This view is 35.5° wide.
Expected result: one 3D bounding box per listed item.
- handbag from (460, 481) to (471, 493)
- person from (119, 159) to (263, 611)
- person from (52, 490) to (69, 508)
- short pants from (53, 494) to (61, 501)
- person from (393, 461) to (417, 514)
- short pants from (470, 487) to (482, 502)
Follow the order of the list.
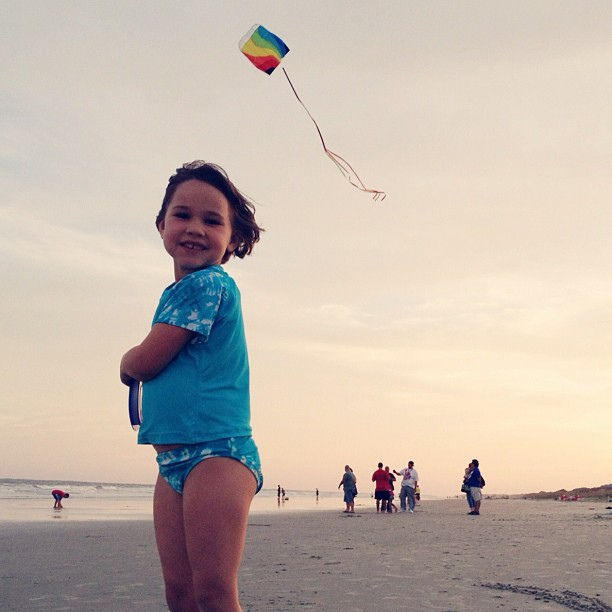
[{"bbox_3d":[3.645,4.138,21.719,0.198,0.251,0.643,-2,-12,10],"label":"handbag"},{"bbox_3d":[-0.550,0.347,4.735,0.644,2.283,0.494,-1,-11,2],"label":"person"},{"bbox_3d":[-6.359,4.991,24.506,0.231,0.415,1.044,2,-12,-13],"label":"person"},{"bbox_3d":[-6.282,4.870,24.118,0.173,0.144,0.170,-13,-49,-22],"label":"short pants"},{"bbox_3d":[2.368,4.327,22.738,0.607,1.223,0.391,1,-5,12],"label":"person"},{"bbox_3d":[3.866,4.318,21.771,0.230,0.321,0.494,-2,-12,8],"label":"short pants"}]
